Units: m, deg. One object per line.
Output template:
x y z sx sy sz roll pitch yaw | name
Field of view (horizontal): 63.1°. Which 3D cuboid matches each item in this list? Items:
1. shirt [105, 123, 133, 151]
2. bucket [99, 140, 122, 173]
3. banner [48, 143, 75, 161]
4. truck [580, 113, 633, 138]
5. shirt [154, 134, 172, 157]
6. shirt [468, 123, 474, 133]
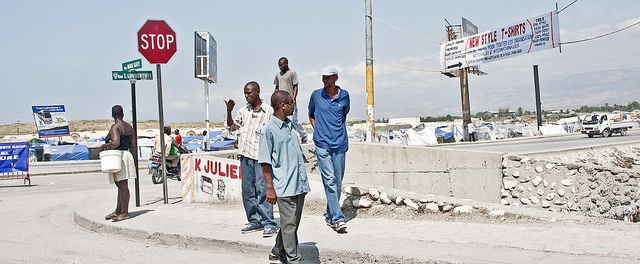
-10.833 0.383 27.960 1.149 1.492 1.218 8 -1 -8 | shirt
-11.099 1.593 28.000 1.434 1.379 1.170 1 -12 -21 | bucket
-26.921 2.135 54.861 2.807 1.087 2.501 3 11 8 | banner
30.505 -0.701 55.861 6.000 1.939 2.317 3 -6 -27 | truck
-10.128 0.858 33.222 1.192 1.169 0.896 -4 -1 10 | shirt
15.402 -0.413 53.494 0.804 0.882 0.342 6 -6 -32 | shirt
